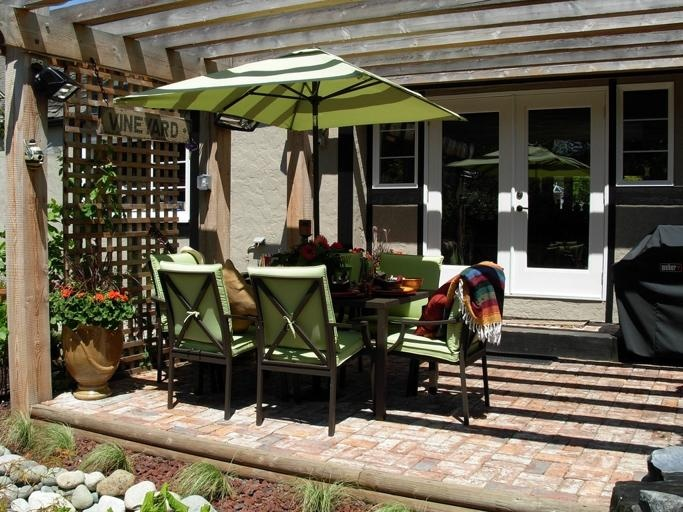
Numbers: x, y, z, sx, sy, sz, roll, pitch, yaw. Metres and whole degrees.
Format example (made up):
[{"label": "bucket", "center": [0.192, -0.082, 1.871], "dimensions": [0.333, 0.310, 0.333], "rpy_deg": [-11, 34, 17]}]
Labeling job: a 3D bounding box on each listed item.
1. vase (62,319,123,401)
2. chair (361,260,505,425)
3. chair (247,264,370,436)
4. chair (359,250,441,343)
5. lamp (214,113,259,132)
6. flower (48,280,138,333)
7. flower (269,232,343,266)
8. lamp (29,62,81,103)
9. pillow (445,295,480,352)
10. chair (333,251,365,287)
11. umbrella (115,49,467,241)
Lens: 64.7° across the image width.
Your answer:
[{"label": "vase", "center": [-2.127, 0.925, 4.742], "dimensions": [0.599, 0.562, 0.538], "rpy_deg": [-3, -15, 5]}, {"label": "chair", "center": [0.808, 0.687, 4.474], "dimensions": [0.990, 1.040, 0.872], "rpy_deg": [-5, -6, 32]}, {"label": "chair", "center": [-0.219, 0.688, 4.312], "dimensions": [1.070, 1.120, 1.119], "rpy_deg": [-4, -6, 39]}, {"label": "chair", "center": [0.658, 0.307, 5.551], "dimensions": [0.704, 0.560, 0.600], "rpy_deg": [-7, 13, -23]}, {"label": "lamp", "center": [-1.232, -1.543, 6.201], "dimensions": [0.304, 0.100, 0.346], "rpy_deg": [7, 3, -5]}, {"label": "flower", "center": [-2.109, 0.408, 4.615], "dimensions": [0.520, 0.223, 0.493], "rpy_deg": [7, -3, -37]}, {"label": "flower", "center": [-0.335, -0.048, 4.817], "dimensions": [0.529, 0.262, 0.465], "rpy_deg": [2, 3, 36]}, {"label": "lamp", "center": [-2.289, -1.403, 4.354], "dimensions": [0.282, 0.289, 0.324], "rpy_deg": [0, 3, -3]}, {"label": "pillow", "center": [0.868, 0.519, 4.180], "dimensions": [0.134, 0.396, 0.344], "rpy_deg": [9, 6, 20]}, {"label": "chair", "center": [0.111, 0.109, 5.510], "dimensions": [0.295, 0.311, 0.345], "rpy_deg": [-1, -7, 17]}, {"label": "umbrella", "center": [-0.378, -0.987, 4.991], "dimensions": [2.096, 1.588, 2.277], "rpy_deg": [2, 3, 28]}]
